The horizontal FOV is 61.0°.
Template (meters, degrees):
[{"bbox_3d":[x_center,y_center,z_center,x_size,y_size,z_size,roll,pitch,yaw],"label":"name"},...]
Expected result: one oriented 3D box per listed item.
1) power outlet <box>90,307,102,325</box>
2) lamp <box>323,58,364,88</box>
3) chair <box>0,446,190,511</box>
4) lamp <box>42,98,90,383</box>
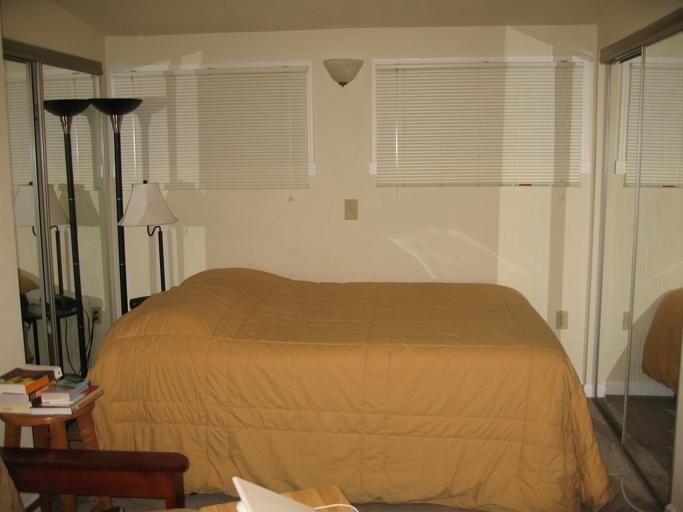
[{"bbox_3d":[-1.872,0.461,4.445,0.049,0.132,0.124,0,5,2],"label":"power outlet"},{"bbox_3d":[0.017,-1.368,4.294,0.212,0.150,0.208,-3,11,-11],"label":"lamp"},{"bbox_3d":[-1.221,1.094,2.853,0.511,0.243,0.111,2,31,0],"label":"chair"},{"bbox_3d":[-2.061,-0.291,4.374,0.269,1.785,0.293,5,34,-21],"label":"lamp"}]
